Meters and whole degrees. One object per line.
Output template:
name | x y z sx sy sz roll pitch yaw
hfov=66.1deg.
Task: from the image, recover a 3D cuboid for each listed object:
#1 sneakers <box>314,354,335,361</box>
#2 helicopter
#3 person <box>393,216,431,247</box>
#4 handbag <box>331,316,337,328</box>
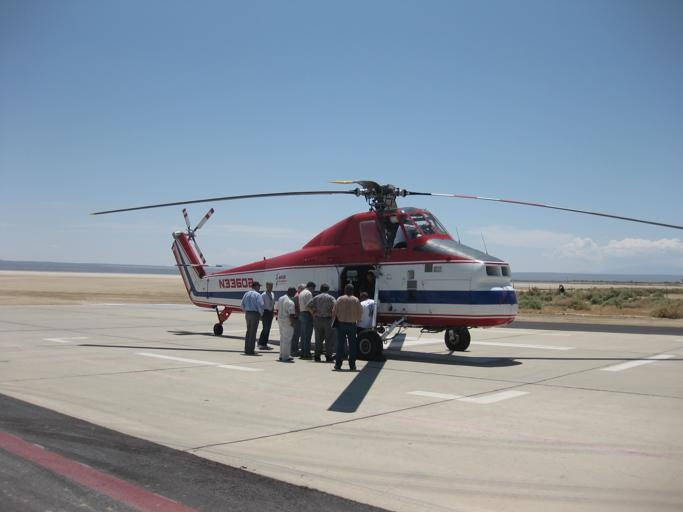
sneakers | -0.433 2.478 12.857 0.292 0.097 0.315 -1 -5 6
helicopter | -0.337 0.360 14.456 8.922 1.859 6.918 1 5 32
person | 1.770 -0.645 13.812 1.592 0.682 0.468 3 1 -18
handbag | -0.154 1.485 11.901 0.107 0.246 0.310 4 0 -4
